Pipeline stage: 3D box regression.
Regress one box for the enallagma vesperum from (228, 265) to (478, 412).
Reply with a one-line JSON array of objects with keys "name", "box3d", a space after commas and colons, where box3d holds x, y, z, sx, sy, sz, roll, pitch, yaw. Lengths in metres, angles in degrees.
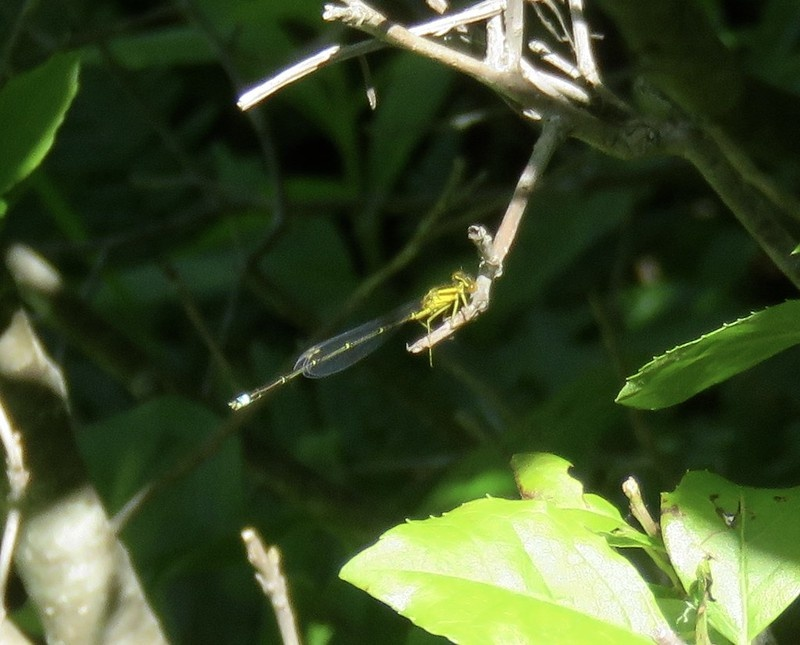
[{"name": "enallagma vesperum", "box3d": [-0.087, 0.025, 1.907, 0.357, 0.097, 0.110, -27, -84, -13]}]
